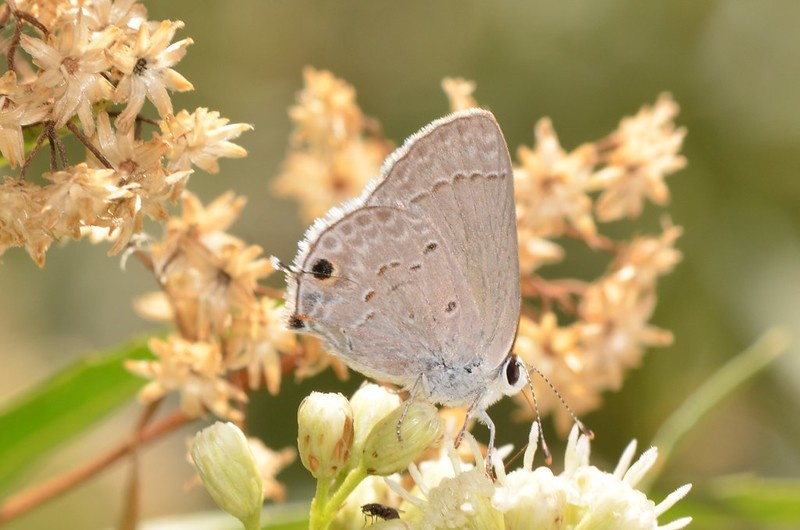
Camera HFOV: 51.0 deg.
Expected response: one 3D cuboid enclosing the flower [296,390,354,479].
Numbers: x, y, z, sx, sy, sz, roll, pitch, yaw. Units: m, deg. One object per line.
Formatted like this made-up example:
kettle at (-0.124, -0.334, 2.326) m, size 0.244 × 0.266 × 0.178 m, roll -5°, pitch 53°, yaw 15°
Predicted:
flower at (-0.196, 0.460, 2.235) m, size 0.144 × 0.257 × 0.162 m, roll 2°, pitch -7°, yaw -5°
